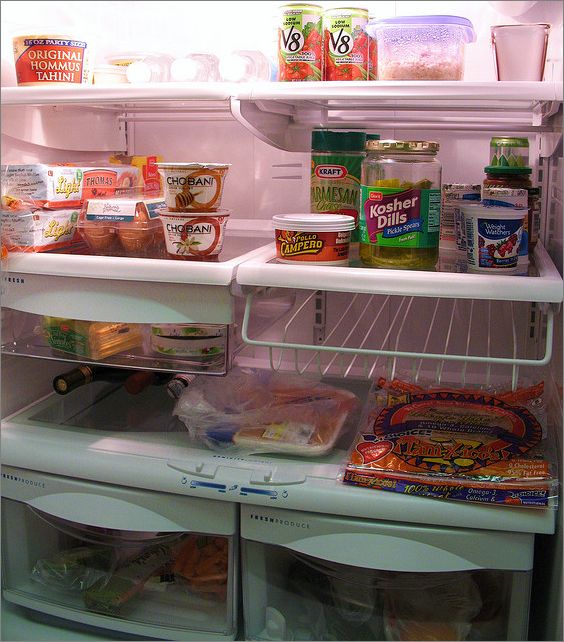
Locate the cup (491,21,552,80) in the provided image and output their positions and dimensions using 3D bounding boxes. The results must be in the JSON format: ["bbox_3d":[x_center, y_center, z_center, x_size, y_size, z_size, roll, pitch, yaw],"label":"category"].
[{"bbox_3d":[0.370,-0.424,0.906,0.105,0.092,0.097,-2,13,0],"label":"cup"}]

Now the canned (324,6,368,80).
[{"bbox_3d":[0.109,-0.474,0.954,0.079,0.119,0.041,-2,14,5],"label":"canned"}]

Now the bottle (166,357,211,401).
[{"bbox_3d":[-0.193,0.138,1.090,0.055,0.091,0.173,-6,13,-10],"label":"bottle"}]

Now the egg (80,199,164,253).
[{"bbox_3d":[-0.272,-0.165,0.960,0.099,0.066,0.149,1,11,4],"label":"egg"}]

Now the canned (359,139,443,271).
[{"bbox_3d":[0.183,-0.181,0.868,0.124,0.195,0.160,-1,14,11],"label":"canned"}]

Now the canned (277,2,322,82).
[{"bbox_3d":[0.031,-0.472,0.946,0.079,0.124,0.046,-3,14,4],"label":"canned"}]
